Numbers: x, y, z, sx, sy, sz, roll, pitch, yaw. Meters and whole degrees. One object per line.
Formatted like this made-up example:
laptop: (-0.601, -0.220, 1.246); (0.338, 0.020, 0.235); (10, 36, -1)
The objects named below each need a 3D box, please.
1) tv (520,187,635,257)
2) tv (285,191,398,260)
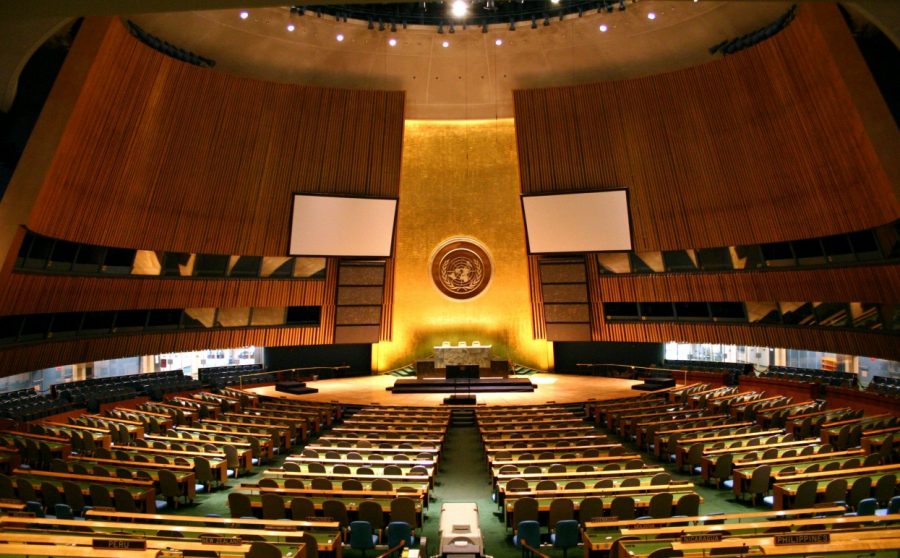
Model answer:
tv: (5.298, -2.414, 20.358); (3.932, 1.792, 0.115); (-3, 14, 15)
tv: (-4.672, -2.296, 20.670); (3.992, 1.818, 0.123); (1, 11, -23)
